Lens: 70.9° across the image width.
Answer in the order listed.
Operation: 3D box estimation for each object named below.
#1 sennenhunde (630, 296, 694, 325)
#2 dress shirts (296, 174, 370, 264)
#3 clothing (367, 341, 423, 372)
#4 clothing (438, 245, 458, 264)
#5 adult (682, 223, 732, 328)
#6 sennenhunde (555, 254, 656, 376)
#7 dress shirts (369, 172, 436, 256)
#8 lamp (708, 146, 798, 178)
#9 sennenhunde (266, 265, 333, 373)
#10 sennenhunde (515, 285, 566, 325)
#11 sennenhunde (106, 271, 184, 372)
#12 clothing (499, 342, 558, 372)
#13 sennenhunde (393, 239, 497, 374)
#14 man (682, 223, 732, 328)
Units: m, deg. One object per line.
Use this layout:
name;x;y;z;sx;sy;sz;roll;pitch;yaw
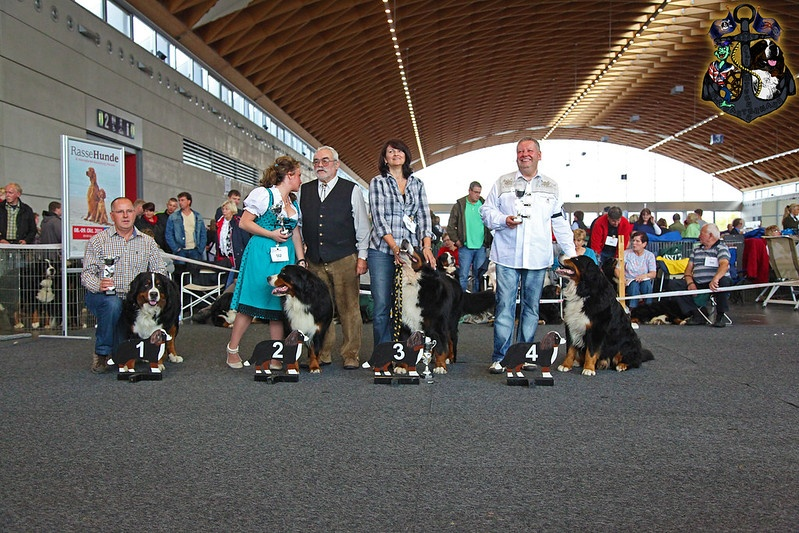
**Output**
sennenhunde;4.246;0.736;9.346;1.142;0.476;0.404;1;0;0
dress shirts;-0.714;-0.463;5.723;0.855;0.862;0.475;2;10;11
clothing;-0.065;0.841;5.269;0.557;0.299;0.219;0;-1;-10
clothing;0.873;-0.236;10.163;0.374;0.270;0.185;-1;-7;-7
adult;4.939;0.118;8.898;0.687;1.609;0.748;4;8;31
sennenhunde;1.903;0.517;6.107;1.177;1.235;0.896;1;-1;-5
dress shirts;0.003;-0.540;5.629;0.633;0.805;0.258;-2;7;-13
lamp;24.777;-7.415;38.992;0.234;0.185;5.059;-30;4;-18
sennenhunde;-0.969;0.537;5.787;0.570;1.001;1.425;5;-4;5
sennenhunde;1.826;0.494;7.236;0.692;0.482;0.357;-6;33;15
sennenhunde;-2.659;0.537;5.904;0.826;0.926;1.283;4;-2;-24
clothing;1.204;0.823;5.189;0.493;0.250;0.113;0;7;-2
sennenhunde;0.311;0.394;5.580;0.760;1.362;0.428;-6;9;-42
man;4.950;0.114;8.933;0.707;1.609;0.763;6;9;45
